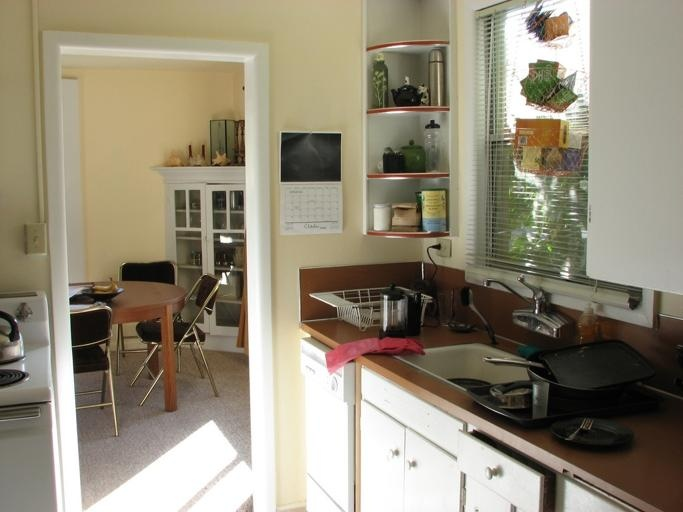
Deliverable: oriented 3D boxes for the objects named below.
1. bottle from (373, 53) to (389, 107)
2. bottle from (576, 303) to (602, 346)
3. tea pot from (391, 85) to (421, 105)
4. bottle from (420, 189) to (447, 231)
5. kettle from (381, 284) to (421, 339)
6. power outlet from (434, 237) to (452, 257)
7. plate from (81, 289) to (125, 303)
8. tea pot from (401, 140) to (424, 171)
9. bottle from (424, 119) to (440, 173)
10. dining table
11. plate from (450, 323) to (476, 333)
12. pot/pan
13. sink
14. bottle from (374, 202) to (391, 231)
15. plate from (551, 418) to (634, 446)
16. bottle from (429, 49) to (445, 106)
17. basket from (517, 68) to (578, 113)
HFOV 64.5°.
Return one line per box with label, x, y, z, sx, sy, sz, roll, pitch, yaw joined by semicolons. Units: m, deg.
bottle;0.226;-0.993;3.085;0.098;0.303;0.114;1;10;3
bottle;1.047;0.283;2.269;0.078;0.166;0.052;4;11;23
tea pot;0.353;-0.868;2.955;0.166;0.127;0.149;2;10;9
bottle;0.511;-0.241;2.946;0.141;0.229;0.074;2;10;9
kettle;0.318;0.285;2.798;0.157;0.265;0.292;5;11;27
power outlet;0.601;-0.051;3.167;0.024;0.116;0.105;-2;5;-34
plate;-2.051;0.326;4.623;0.353;0.089;0.225;1;10;3
tea pot;0.398;-0.546;2.993;0.118;0.175;0.110;0;10;0
bottle;0.505;-0.611;3.018;0.078;0.282;0.100;-1;10;-7
dining table;-1.740;0.631;4.849;1.079;0.832;1.121;-4;14;-20
plate;0.652;0.380;2.944;0.138;0.028;0.160;-1;10;-10
pot/pan;0.936;0.403;2.027;0.408;0.121;0.231;1;10;7
sink;0.519;0.518;2.516;0.377;0.139;0.304;0;3;-32
bottle;0.229;-0.215;3.089;0.124;0.148;0.085;5;11;24
plate;0.818;0.576;1.762;0.259;0.032;0.154;0;10;-2
bottle;0.526;-0.972;2.950;0.085;0.306;0.053;7;12;36
basket;0.936;-0.729;2.427;0.078;0.181;0.264;-6;11;-31
